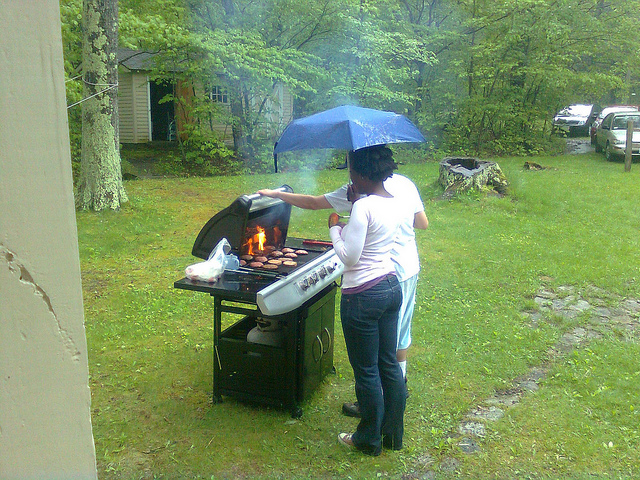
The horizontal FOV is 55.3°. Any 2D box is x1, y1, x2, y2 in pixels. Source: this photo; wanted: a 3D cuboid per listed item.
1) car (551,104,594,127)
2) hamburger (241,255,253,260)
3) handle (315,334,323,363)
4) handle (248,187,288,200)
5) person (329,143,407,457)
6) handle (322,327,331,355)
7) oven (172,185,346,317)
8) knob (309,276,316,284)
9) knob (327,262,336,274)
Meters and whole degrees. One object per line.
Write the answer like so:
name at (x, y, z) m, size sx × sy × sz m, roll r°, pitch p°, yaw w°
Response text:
car at (10.978, -5.316, 26.295) m, size 1.135 × 0.897 × 2.404 m, roll 12°, pitch 19°, yaw 28°
hamburger at (-0.655, 0.155, 5.507) m, size 0.073 × 0.027 × 0.102 m, roll 18°, pitch 22°, yaw 41°
handle at (-0.006, 0.979, 5.518) m, size 0.054 × 0.259 × 0.135 m, roll 4°, pitch 16°, yaw 4°
handle at (-0.463, -0.405, 5.583) m, size 0.096 × 0.114 × 0.595 m, roll 17°, pitch 18°, yaw 31°
person at (0.404, 0.509, 4.833) m, size 0.697 × 2.437 × 0.502 m, roll 6°, pitch 16°, yaw 10°
handle at (0.074, 0.933, 5.694) m, size 0.053 × 0.289 × 0.145 m, roll 6°, pitch 16°, yaw 11°
oven at (-0.408, -0.005, 5.547) m, size 1.028 × 0.789 × 1.892 m, roll 10°, pitch 16°, yaw 21°
knob at (-0.068, 0.344, 5.162) m, size 0.043 × 0.069 × 0.088 m, roll 11°, pitch 18°, yaw 26°
knob at (0.103, 0.248, 5.455) m, size 0.065 × 0.033 × 0.094 m, roll 4°, pitch 57°, yaw -22°
